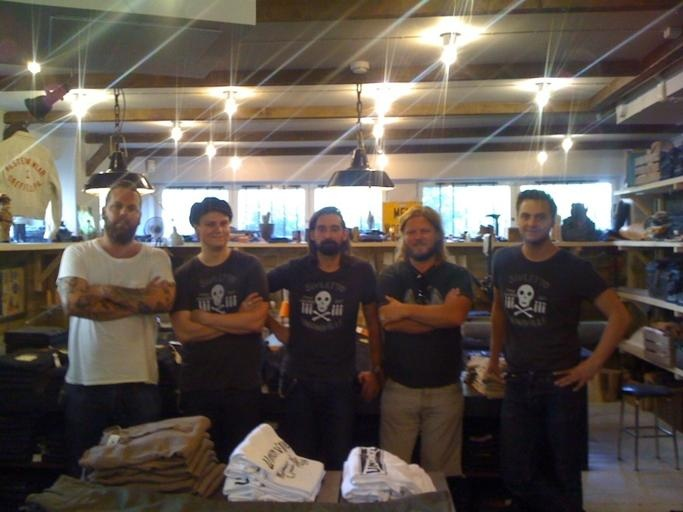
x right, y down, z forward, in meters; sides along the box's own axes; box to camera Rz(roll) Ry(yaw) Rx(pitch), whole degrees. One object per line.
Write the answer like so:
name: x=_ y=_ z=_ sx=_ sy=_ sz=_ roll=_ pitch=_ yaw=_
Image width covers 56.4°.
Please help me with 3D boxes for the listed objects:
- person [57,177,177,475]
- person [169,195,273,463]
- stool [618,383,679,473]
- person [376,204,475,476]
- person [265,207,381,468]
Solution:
person: x=-1.387 y=0.426 z=3.895 sx=0.681 sy=1.465 sz=0.326 roll=1 pitch=0 yaw=-20
person: x=-0.748 y=0.422 z=3.877 sx=0.581 sy=1.378 sz=0.309 roll=1 pitch=0 yaw=-10
stool: x=2.758 y=1.553 z=5.672 sx=0.561 sy=0.818 sz=0.567 roll=-1 pitch=-12 yaw=1
person: x=0.488 y=0.507 z=3.893 sx=0.557 sy=1.581 sz=0.409 roll=1 pitch=0 yaw=24
person: x=-0.094 y=0.490 z=3.914 sx=0.718 sy=1.465 sz=0.379 roll=1 pitch=0 yaw=-7
